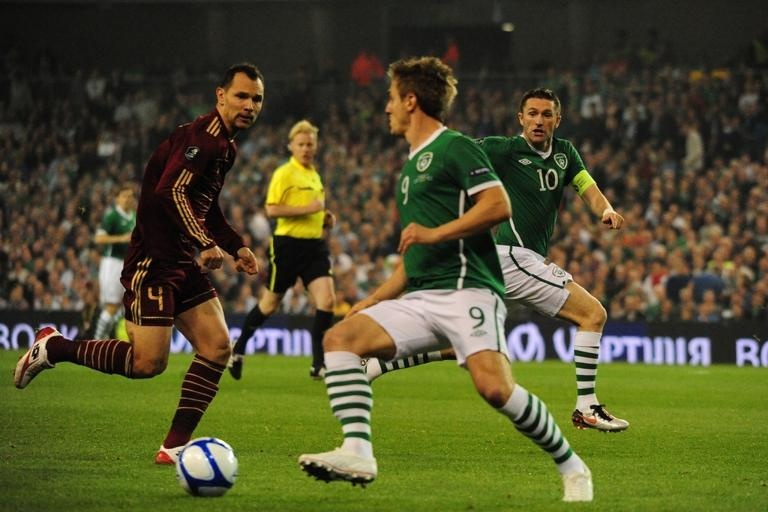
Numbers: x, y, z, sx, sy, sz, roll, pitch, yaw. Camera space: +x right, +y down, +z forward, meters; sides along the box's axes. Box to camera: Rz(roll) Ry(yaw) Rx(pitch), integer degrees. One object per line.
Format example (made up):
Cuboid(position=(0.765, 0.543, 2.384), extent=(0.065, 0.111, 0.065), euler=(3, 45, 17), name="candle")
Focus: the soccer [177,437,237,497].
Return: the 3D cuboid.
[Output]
Cuboid(position=(-1.951, 2.236, 11.089), extent=(0.610, 0.596, 0.586), euler=(17, 16, -30), name="soccer")
